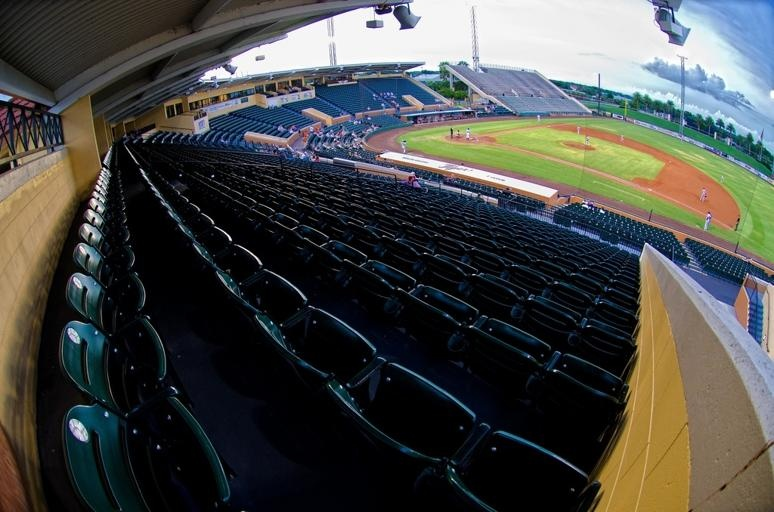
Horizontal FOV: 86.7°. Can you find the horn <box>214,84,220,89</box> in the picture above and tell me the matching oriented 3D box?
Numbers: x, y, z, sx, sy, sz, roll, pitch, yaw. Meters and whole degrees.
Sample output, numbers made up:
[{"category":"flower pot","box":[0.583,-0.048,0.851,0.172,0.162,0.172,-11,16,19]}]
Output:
[{"category":"horn","box":[-14.193,-14.040,33.936,0.298,0.383,0.337,42,45,23]}]
